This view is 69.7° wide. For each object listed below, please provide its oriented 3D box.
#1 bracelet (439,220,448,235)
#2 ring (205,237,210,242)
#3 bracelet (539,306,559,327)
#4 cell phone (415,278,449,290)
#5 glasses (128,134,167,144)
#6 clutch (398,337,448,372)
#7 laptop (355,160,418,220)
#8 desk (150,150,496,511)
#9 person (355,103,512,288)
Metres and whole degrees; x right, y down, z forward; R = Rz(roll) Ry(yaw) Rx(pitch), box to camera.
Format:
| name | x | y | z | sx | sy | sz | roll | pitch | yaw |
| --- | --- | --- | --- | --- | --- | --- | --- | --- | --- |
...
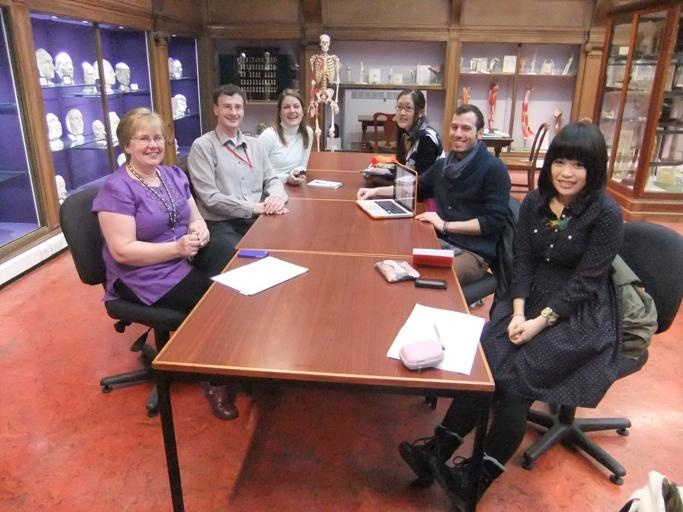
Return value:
| name | x | y | z | sx | sy | sz | roll | pitch | yaw |
| --- | --- | --- | --- | --- | --- | --- | --- | --- | --- |
| bracelet | 0.633 | -0.168 | 3.104 | 0.053 | 0.076 | 0.073 | 4 | 15 | 7 |
| ring | -0.788 | -0.095 | 2.862 | 0.025 | 0.026 | 0.018 | -25 | 36 | -15 |
| bracelet | 0.949 | 0.282 | 2.299 | 0.061 | 0.087 | 0.094 | -22 | 70 | -8 |
| cell phone | 0.423 | 0.137 | 2.344 | 0.120 | 0.029 | 0.061 | 1 | 16 | 3 |
| glasses | -1.065 | -0.655 | 2.753 | 0.099 | 0.057 | 0.221 | 17 | 27 | 35 |
| clutch | 0.302 | 0.372 | 1.840 | 0.115 | 0.045 | 0.110 | -5 | 29 | -5 |
| laptop | 0.291 | -0.561 | 3.299 | 0.336 | 0.364 | 0.574 | 1 | 24 | -2 |
| desk | -0.039 | 0.449 | 2.564 | 1.264 | 0.822 | 1.456 | 1 | 22 | 4 |
| person | 0.825 | -0.472 | 3.765 | 0.984 | 1.705 | 0.940 | -1 | 10 | -23 |
